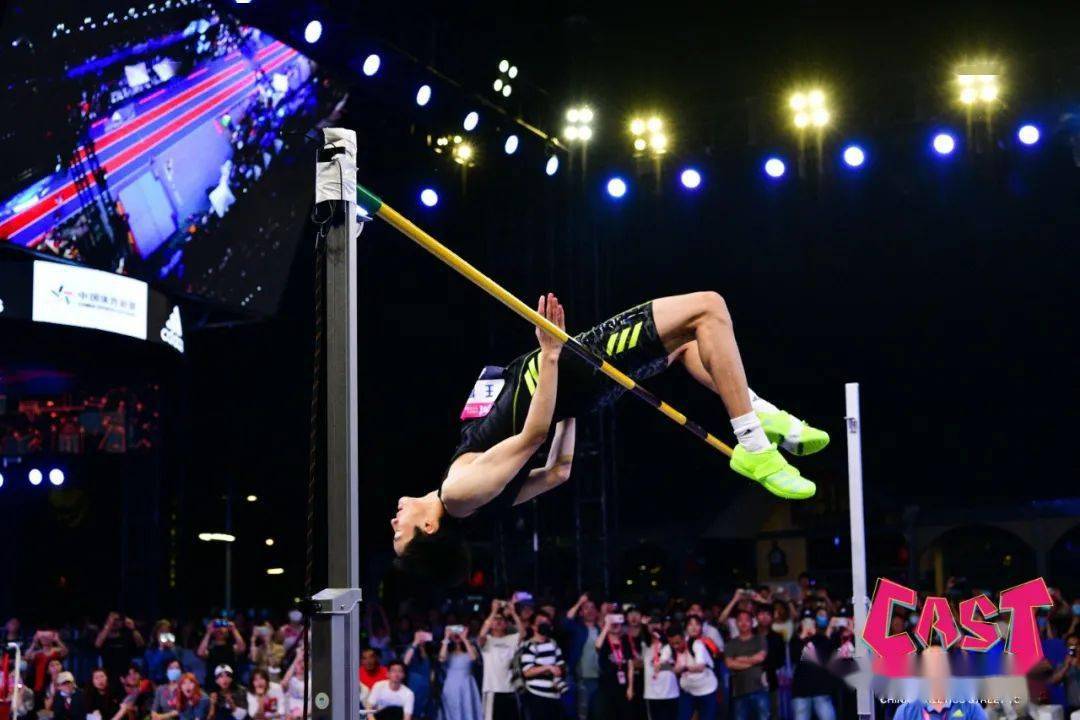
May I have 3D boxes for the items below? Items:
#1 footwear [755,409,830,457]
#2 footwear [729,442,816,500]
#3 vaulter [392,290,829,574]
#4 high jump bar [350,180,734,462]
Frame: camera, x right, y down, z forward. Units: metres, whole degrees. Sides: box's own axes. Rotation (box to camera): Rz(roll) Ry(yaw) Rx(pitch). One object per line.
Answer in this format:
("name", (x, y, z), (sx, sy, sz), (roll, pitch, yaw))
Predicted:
("footwear", (2.222, 0.610, 9.800), (0.755, 0.261, 0.333), (21, 2, 24))
("footwear", (1.830, 0.913, 9.483), (0.723, 0.302, 0.344), (24, 28, 20))
("vaulter", (0.240, 0.676, 10.629), (3.469, 1.901, 2.202), (-28, -11, 2))
("high jump bar", (0.163, -0.298, 10.144), (4.127, 0.339, 0.547), (32, 2, -24))
